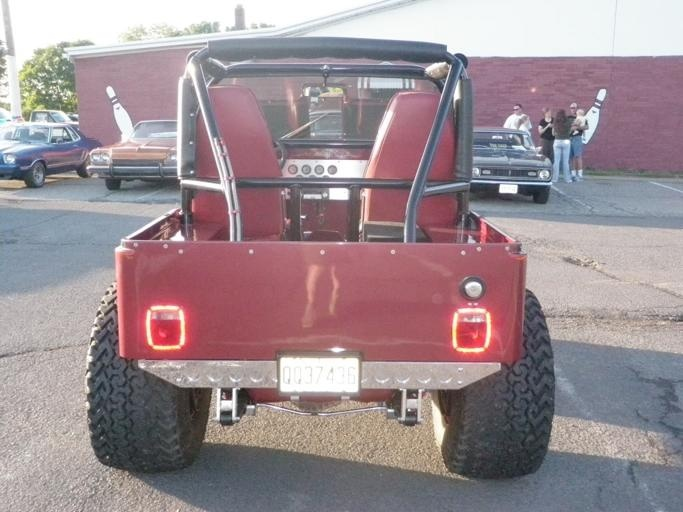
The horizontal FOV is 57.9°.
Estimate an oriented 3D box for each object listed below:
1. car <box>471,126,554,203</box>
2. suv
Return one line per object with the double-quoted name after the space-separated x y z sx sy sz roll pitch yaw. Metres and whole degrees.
3.563 -1.985 14.309 1.794 1.631 3.441 1 11 1 "car"
-0.158 -0.235 4.544 2.030 2.276 3.264 1 14 -2 "suv"
